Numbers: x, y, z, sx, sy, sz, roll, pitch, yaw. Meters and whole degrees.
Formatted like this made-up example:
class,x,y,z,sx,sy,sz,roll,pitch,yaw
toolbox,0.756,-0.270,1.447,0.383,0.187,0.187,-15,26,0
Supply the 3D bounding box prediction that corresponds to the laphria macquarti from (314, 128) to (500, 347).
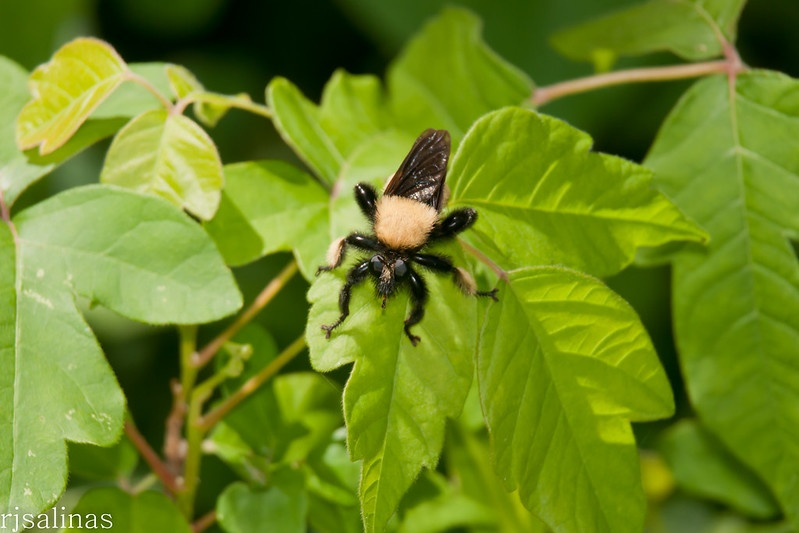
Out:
class,x,y,z,sx,sy,sz,roll,pitch,yaw
laphria macquarti,0.012,-0.066,2.962,0.489,0.251,0.714,8,56,14
